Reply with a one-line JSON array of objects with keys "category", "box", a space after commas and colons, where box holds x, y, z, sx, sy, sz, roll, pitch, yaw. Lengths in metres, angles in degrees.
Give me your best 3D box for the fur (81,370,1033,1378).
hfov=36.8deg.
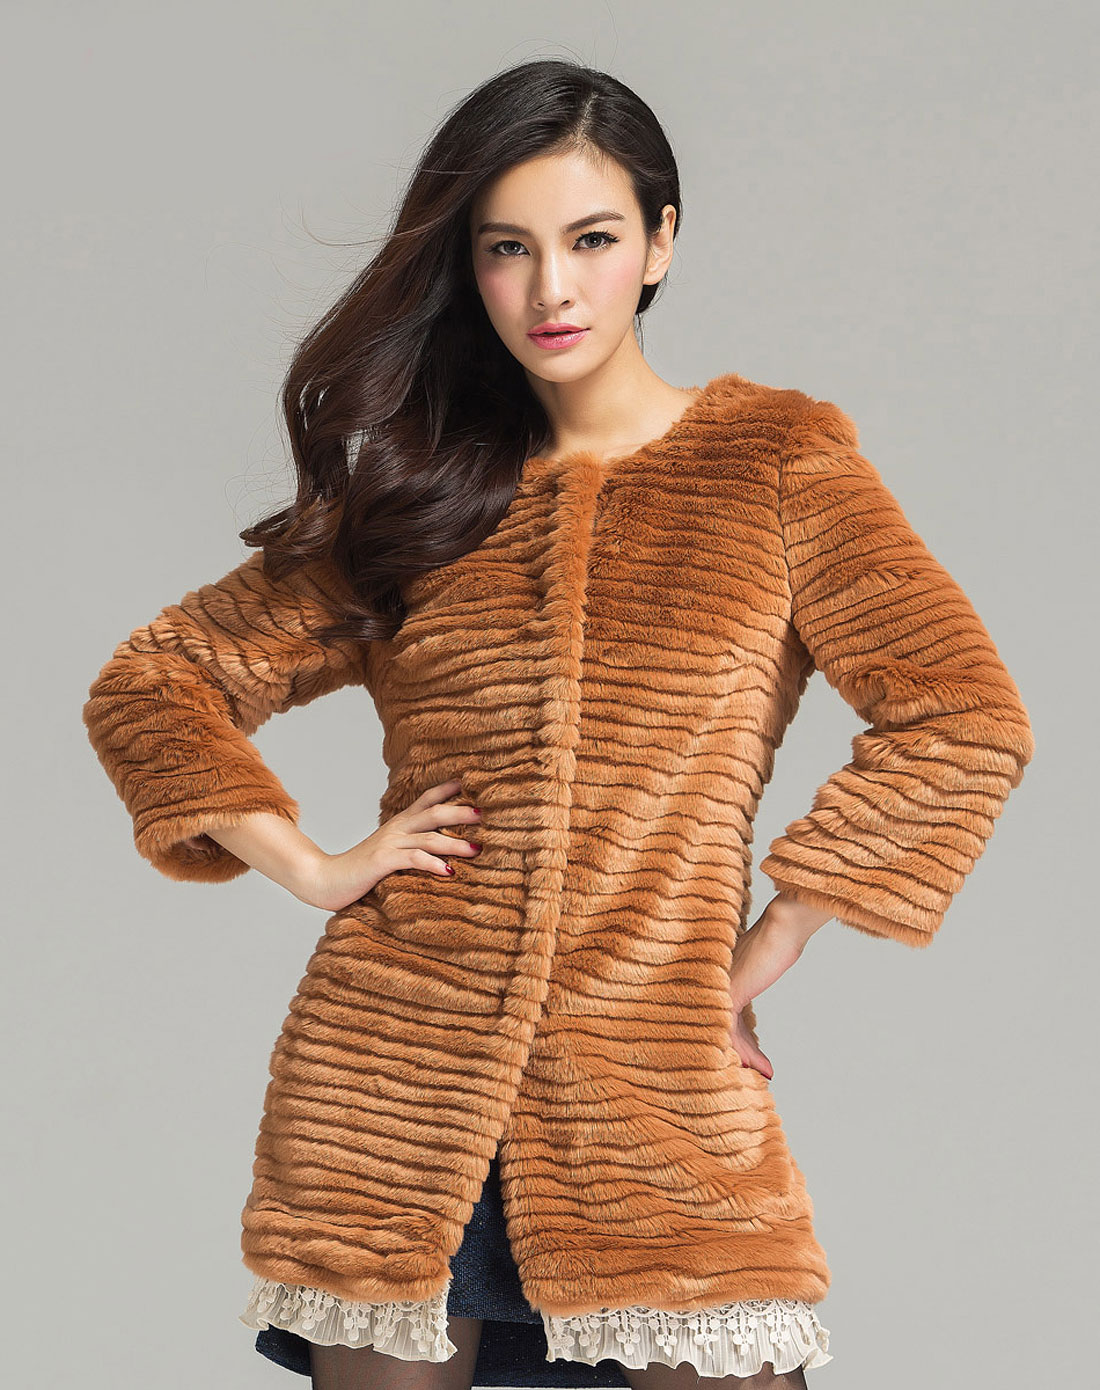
[{"category": "fur", "box": [0.106, 0.172, 1.971, 0.875, 1.196, 0.245, 5, -15, 9]}]
